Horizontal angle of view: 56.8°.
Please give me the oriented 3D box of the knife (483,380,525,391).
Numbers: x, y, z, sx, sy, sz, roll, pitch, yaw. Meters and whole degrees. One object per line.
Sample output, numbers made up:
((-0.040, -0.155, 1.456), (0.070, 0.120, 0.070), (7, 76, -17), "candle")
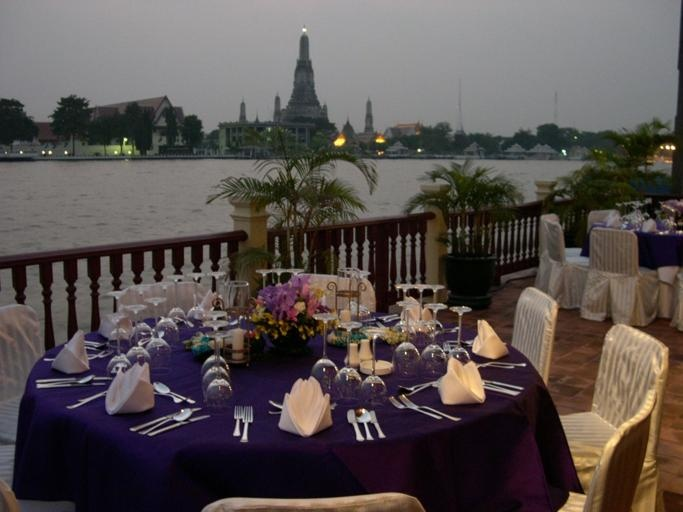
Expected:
((0.710, 0.562, 2.761), (0.168, 0.007, 0.078), (4, 17, 9), "knife")

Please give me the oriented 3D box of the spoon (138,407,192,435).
((-0.671, 0.642, 2.463), (0.063, 0.045, 0.265), (15, 20, 31), "spoon")

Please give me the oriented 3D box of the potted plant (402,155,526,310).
((1.585, -0.270, 7.961), (1.313, 2.004, 1.539), (-1, 4, -13), "potted plant")
